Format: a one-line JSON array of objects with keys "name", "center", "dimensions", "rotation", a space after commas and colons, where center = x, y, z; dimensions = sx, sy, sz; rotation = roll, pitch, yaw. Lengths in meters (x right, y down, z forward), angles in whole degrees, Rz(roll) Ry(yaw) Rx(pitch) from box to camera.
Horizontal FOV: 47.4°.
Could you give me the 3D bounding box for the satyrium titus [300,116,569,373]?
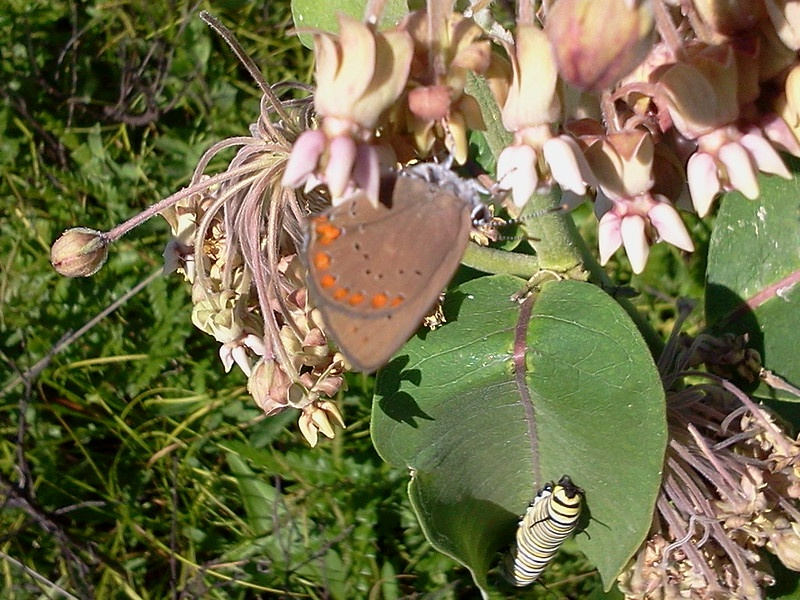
[{"name": "satyrium titus", "center": [0.014, -0.024, 1.201], "dimensions": [0.241, 0.224, 0.340], "rotation": [33, 35, -5]}]
